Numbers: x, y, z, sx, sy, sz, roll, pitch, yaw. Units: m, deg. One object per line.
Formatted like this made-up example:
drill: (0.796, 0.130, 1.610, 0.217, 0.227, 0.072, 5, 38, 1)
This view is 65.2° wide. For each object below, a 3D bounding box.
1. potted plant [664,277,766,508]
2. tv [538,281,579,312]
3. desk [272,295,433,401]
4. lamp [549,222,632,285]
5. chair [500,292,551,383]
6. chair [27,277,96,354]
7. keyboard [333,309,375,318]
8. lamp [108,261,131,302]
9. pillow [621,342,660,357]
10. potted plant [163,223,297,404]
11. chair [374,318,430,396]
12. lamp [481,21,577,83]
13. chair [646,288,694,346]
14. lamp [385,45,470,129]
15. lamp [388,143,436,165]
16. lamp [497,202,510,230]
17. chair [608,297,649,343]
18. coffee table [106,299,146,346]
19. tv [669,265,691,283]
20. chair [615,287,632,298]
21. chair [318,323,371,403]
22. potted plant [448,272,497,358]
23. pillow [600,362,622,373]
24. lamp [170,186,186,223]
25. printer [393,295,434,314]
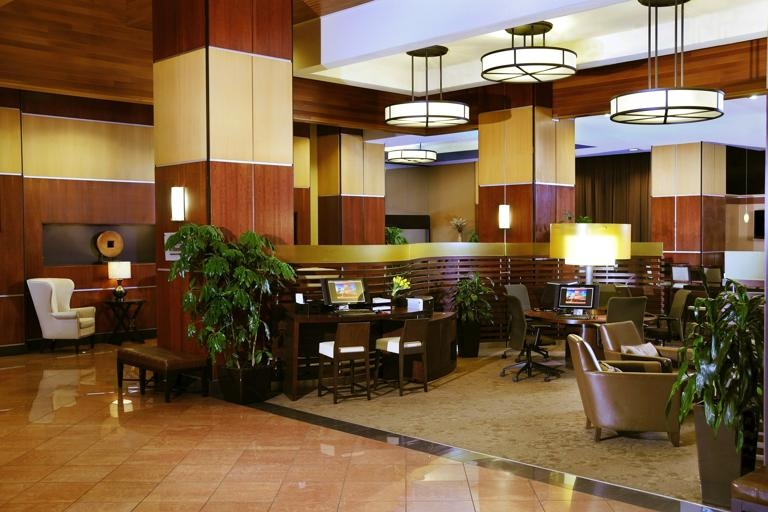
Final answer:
potted plant: (2.960, 1.185, 5.259, 0.683, 2.075, 0.832, 3, 6, 31)
tv: (2.854, 0.541, 9.688, 0.401, 0.518, 0.739, -3, 6, -28)
desk: (-0.305, 1.403, 8.841, 2.291, 1.138, 0.892, 2, 0, -21)
lamp: (3.198, -0.040, 9.227, 0.942, 0.959, 0.960, 0, 5, 2)
chair: (2.317, 1.226, 9.300, 0.844, 1.233, 0.849, 5, -7, -24)
chair: (-6.130, 1.073, 11.358, 1.030, 1.304, 1.243, 1, 0, 2)
keyboard: (-0.416, 0.801, 8.507, 0.552, 0.064, 0.401, -1, 5, -13)
lamp: (-5.325, 0.485, 12.010, 0.429, 0.776, 0.625, -3, 5, -24)
pillow: (3.274, 1.190, 7.595, 0.471, 0.168, 0.075, -1, -15, -23)
potted plant: (-2.092, 0.765, 8.160, 1.581, 2.404, 0.975, -2, 5, -21)
chair: (0.272, 1.375, 8.620, 0.572, 0.984, 0.693, -1, 2, -37)
lamp: (2.482, -3.498, 10.190, 1.547, 0.804, 1.566, 4, 14, 35)
chair: (4.940, 1.203, 10.449, 0.778, 1.158, 0.715, 1, 0, 22)
lamp: (0.886, -3.408, 11.842, 1.493, 1.446, 1.580, -18, 26, -35)
lamp: (0.786, -3.252, 18.651, 1.404, 0.677, 2.825, 0, 5, 0)
lamp: (2.552, -0.840, 12.644, 0.186, 0.543, 0.279, -4, 6, -37)
chair: (3.621, 0.898, 8.846, 0.543, 0.880, 0.610, 1, 0, -6)
coffee table: (-5.289, 1.290, 12.166, 0.675, 0.933, 0.818, -2, 5, -18)
tv: (7.230, 0.426, 14.487, 0.093, 0.470, 0.418, -1, 3, -38)
chair: (4.386, 0.640, 10.870, 0.254, 0.219, 0.257, -4, 0, 18)
chair: (-0.571, 1.401, 8.543, 0.743, 1.139, 1.288, -1, 5, -3)
potted plant: (1.717, 1.019, 11.433, 0.796, 1.457, 1.575, 1, 5, 11)
pillow: (2.580, 1.268, 6.819, 0.163, 0.049, 0.168, 11, -1, -28)
lamp: (-2.961, -0.753, 8.494, 0.320, 0.502, 0.134, 3, 6, 34)
printer: (0.555, 0.720, 9.071, 0.433, 0.154, 0.304, -1, 2, -44)
